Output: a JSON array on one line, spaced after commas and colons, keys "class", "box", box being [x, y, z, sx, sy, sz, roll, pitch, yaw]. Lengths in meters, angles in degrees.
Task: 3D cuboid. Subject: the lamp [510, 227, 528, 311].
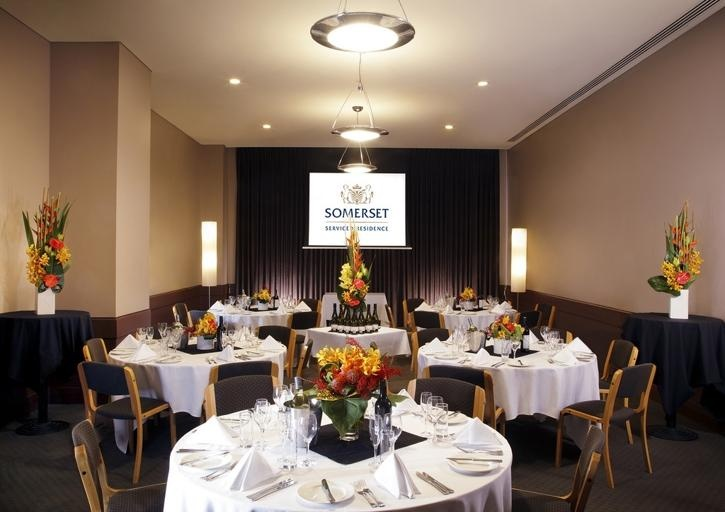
[{"class": "lamp", "box": [3.221, 0.210, 10.900, 0.332, 1.622, 0.592, -1, -1, 20]}]

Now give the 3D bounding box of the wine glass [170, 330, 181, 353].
[{"class": "wine glass", "box": [-1.990, 0.904, 5.637, 0.155, 0.285, 0.163, -1, 5, -20]}]

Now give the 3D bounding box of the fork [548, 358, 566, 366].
[{"class": "fork", "box": [1.965, 1.079, 5.378, 0.043, 0.029, 0.191, -18, 5, -17]}]

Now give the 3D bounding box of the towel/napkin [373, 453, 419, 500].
[{"class": "towel/napkin", "box": [0.200, 1.329, 3.207, 0.257, 0.243, 0.110, -1, -1, 1]}]

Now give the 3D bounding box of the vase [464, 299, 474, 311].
[{"class": "vase", "box": [1.772, 0.831, 8.841, 0.141, 0.180, 0.151, -2, -3, 23]}]

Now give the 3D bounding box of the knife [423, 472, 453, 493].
[{"class": "knife", "box": [0.458, 1.407, 3.251, 0.059, 0.029, 0.229, -6, 5, -22]}]

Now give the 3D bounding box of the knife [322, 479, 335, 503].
[{"class": "knife", "box": [-0.206, 1.407, 3.162, 0.053, 0.090, 0.157, 0, -2, -18]}]

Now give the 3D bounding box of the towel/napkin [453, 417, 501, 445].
[{"class": "towel/napkin", "box": [0.795, 1.249, 3.764, 0.286, 0.168, 0.409, 0, -1, 2]}]

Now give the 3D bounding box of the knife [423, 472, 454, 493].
[{"class": "knife", "box": [0.462, 1.408, 3.252, 0.063, 0.028, 0.227, -5, 6, -21]}]

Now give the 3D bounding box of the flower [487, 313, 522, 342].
[{"class": "flower", "box": [1.540, 0.786, 5.680, 0.272, 0.239, 0.307, 3, -5, 3]}]

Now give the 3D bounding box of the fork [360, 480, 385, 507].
[{"class": "fork", "box": [0.047, 1.434, 3.162, 0.056, 0.032, 0.205, -1, 16, -18]}]

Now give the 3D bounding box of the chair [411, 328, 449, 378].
[{"class": "chair", "box": [0.786, 1.179, 6.575, 0.450, 0.647, 0.515, 0, -6, 4]}]

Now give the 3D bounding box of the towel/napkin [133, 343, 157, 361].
[{"class": "towel/napkin", "box": [-2.204, 0.964, 5.344, 0.158, 0.101, 0.173, 2, -1, 18]}]

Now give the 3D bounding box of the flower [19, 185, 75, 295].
[{"class": "flower", "box": [-3.831, -0.188, 6.466, 0.517, 1.251, 0.784, 0, -1, -34]}]

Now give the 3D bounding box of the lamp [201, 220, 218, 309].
[{"class": "lamp", "box": [-3.209, 0.168, 11.093, 0.324, 1.789, 0.646, 0, -1, -18]}]

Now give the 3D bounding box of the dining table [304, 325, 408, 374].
[{"class": "dining table", "box": [-0.088, 0.940, 5.550, 0.897, 0.403, 0.991, 1, -8, -10]}]

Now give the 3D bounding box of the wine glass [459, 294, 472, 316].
[{"class": "wine glass", "box": [1.740, 0.828, 8.873, 0.175, 0.230, 0.203, 2, -9, -9]}]

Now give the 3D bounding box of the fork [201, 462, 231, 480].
[{"class": "fork", "box": [-0.927, 1.364, 3.346, 0.020, 0.019, 0.160, 8, 16, 23]}]

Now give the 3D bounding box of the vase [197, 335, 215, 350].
[{"class": "vase", "box": [-1.701, 0.925, 5.741, 0.141, 0.122, 0.146, -1, -3, 40]}]

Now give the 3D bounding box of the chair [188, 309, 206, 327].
[{"class": "chair", "box": [-2.259, 0.843, 7.200, 0.237, 0.360, 0.265, 2, 2, -22]}]

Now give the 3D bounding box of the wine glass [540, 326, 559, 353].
[{"class": "wine glass", "box": [2.079, 0.947, 5.970, 0.205, 0.381, 0.241, 0, -7, -6]}]

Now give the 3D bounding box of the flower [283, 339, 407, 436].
[{"class": "flower", "box": [-0.121, 0.786, 3.633, 0.607, 0.609, 0.635, 2, 1, 35]}]

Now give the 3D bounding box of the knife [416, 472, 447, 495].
[{"class": "knife", "box": [0.441, 1.395, 3.260, 0.063, 0.030, 0.254, -2, -1, -21]}]

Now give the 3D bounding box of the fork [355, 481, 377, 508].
[{"class": "fork", "box": [0.020, 1.429, 3.175, 0.051, 0.029, 0.192, -1, 12, -14]}]

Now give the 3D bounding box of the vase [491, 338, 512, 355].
[{"class": "vase", "box": [1.462, 0.960, 5.582, 0.185, 0.220, 0.116, -2, -4, 35]}]

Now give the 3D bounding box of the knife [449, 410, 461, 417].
[{"class": "knife", "box": [0.708, 1.226, 4.133, 0.047, 0.040, 0.201, 1, -13, 6]}]

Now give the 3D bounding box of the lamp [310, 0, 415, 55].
[{"class": "lamp", "box": [-0.004, -2.151, 4.921, 0.922, 0.235, 0.658, 0, -2, -14]}]

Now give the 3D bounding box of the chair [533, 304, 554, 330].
[{"class": "chair", "box": [2.977, 1.000, 8.739, 0.354, 0.762, 0.410, -1, -3, 19]}]

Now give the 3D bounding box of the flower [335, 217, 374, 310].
[{"class": "flower", "box": [-0.127, 0.120, 6.727, 0.386, 1.087, 0.513, -1, -1, -2]}]

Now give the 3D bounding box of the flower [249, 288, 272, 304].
[{"class": "flower", "box": [-1.712, 0.688, 8.924, 0.344, 0.357, 0.384, 3, -2, -6]}]

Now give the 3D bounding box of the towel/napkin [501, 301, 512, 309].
[{"class": "towel/napkin", "box": [2.497, 0.860, 9.221, 0.163, 0.089, 0.240, 16, 2, 9]}]

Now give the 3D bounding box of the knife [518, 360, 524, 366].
[{"class": "knife", "box": [1.602, 1.086, 5.361, 0.040, 0.043, 0.031, -3, 1, 33]}]

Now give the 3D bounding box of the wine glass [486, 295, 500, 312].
[{"class": "wine glass", "box": [2.291, 0.813, 9.185, 0.222, 0.318, 0.247, 0, -1, 0]}]

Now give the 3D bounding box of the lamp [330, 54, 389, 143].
[{"class": "lamp", "box": [-0.029, -2.321, 8.291, 0.876, 1.673, 0.925, -2, 6, -25]}]

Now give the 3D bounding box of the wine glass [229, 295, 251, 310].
[{"class": "wine glass", "box": [-2.079, 0.800, 9.114, 0.270, 0.259, 0.330, 2, -4, -8]}]

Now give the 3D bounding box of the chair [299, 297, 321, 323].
[{"class": "chair", "box": [-0.911, 0.923, 9.404, 0.260, 0.413, 0.337, 0, -7, -1]}]

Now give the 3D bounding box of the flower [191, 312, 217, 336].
[{"class": "flower", "box": [-1.739, 0.745, 5.896, 0.230, 0.304, 0.241, 0, 0, -1]}]

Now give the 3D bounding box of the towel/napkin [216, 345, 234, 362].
[{"class": "towel/napkin", "box": [-1.393, 0.990, 5.389, 0.167, 0.171, 0.135, 1, 9, -8]}]
